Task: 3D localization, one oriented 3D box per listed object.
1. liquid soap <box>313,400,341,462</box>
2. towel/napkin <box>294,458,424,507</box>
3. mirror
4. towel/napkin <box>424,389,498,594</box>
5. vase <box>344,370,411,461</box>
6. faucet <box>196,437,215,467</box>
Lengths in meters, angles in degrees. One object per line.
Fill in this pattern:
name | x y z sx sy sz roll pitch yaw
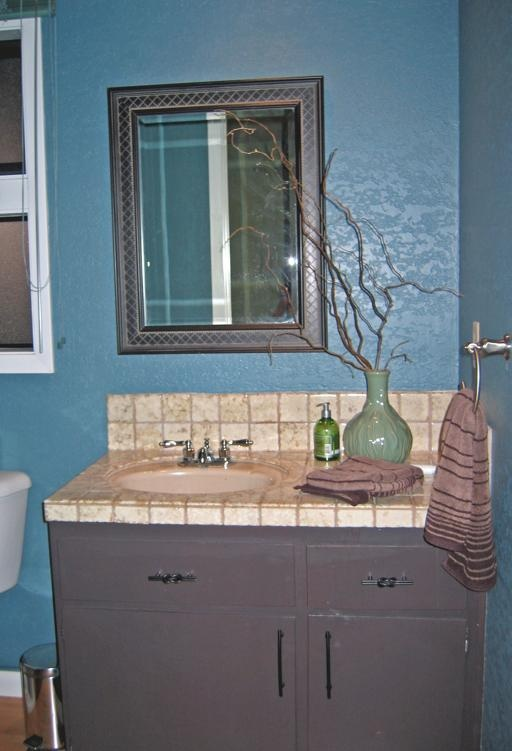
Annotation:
liquid soap | 0.181 0.140 2.090 0.069 0.153 0.066 -5 13 -13
towel/napkin | 0.248 0.233 1.865 0.270 0.057 0.187 -7 9 -37
mirror | -0.081 -0.458 2.207 0.783 0.860 0.055 0 11 9
towel/napkin | 0.418 0.236 1.720 0.138 0.388 0.173 -2 8 -2
vase | 0.305 0.104 2.055 0.180 0.236 0.173 0 11 -1
faucet | -0.121 0.208 2.193 0.064 0.082 0.059 2 3 9
